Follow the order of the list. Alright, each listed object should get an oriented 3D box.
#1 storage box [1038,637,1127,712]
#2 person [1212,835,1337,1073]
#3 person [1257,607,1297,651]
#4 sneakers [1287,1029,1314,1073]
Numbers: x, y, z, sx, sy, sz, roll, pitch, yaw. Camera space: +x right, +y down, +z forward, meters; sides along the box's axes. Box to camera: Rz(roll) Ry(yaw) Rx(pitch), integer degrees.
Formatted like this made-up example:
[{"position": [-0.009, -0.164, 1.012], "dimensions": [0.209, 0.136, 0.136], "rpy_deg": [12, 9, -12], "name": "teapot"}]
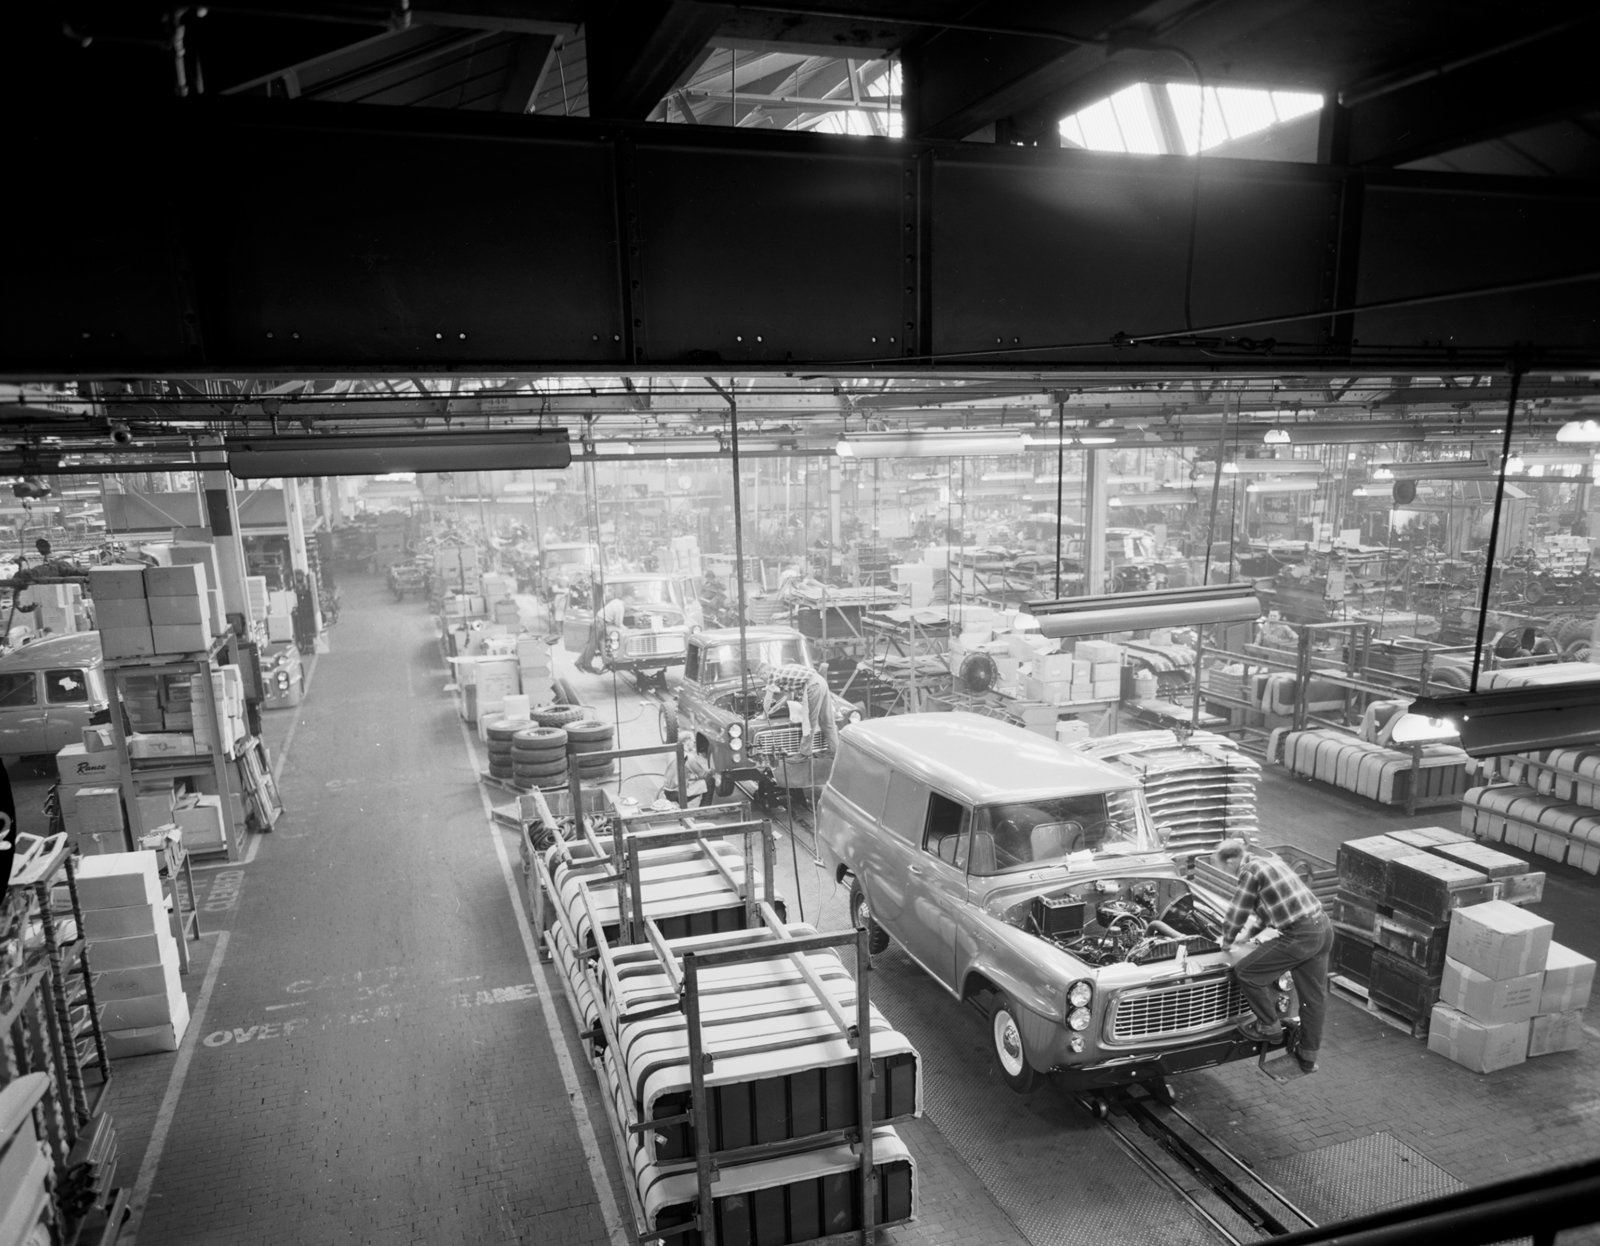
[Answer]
[{"position": [4.420, 0.793, 18.610], "dimensions": [1.584, 1.160, 0.906], "rpy_deg": [-1, 2, -19], "name": "storage box"}, {"position": [3.776, 2.644, 9.361], "dimensions": [0.759, 1.665, 0.696], "rpy_deg": [6, -15, -40], "name": "person"}, {"position": [8.752, 0.139, 22.000], "dimensions": [0.706, 0.198, 0.797], "rpy_deg": [-2, 19, 7], "name": "person"}, {"position": [4.007, 3.417, 9.565], "dimensions": [0.157, 0.274, 0.404], "rpy_deg": [-2, 1, 3], "name": "sneakers"}]
